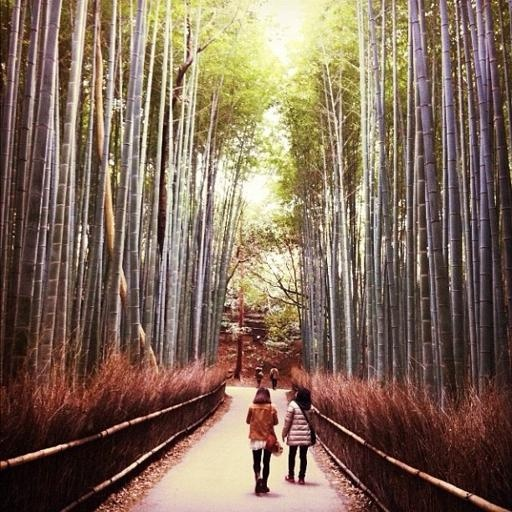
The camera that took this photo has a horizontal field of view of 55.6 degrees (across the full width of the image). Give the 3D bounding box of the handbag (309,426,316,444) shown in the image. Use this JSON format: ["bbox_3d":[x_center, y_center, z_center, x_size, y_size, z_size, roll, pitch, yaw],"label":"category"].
[{"bbox_3d":[0.404,1.292,3.458,0.033,0.126,0.116,-1,-5,12],"label":"handbag"}]

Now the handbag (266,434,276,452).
[{"bbox_3d":[0.097,1.241,3.193,0.063,0.103,0.023,0,-4,-1],"label":"handbag"}]
